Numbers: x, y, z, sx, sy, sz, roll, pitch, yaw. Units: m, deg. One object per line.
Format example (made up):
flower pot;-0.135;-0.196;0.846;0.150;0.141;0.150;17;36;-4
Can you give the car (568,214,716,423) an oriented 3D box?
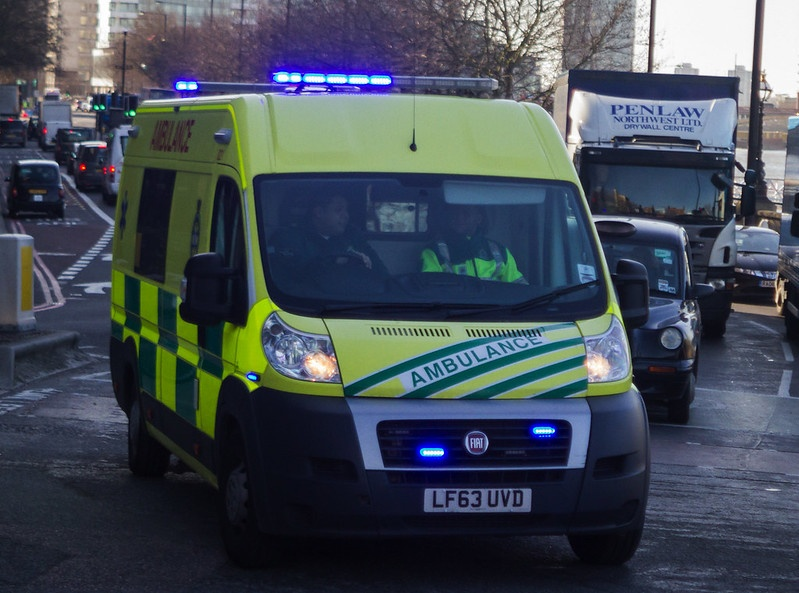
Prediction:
car;3.259;-0.016;12.492;1.925;2.092;3.991;7;14;24

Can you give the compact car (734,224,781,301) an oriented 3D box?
compact car;9.928;-0.980;25.922;1.104;1.817;2.080;3;0;19

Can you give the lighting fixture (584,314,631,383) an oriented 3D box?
lighting fixture;1.121;0.292;5.016;0.222;0.324;0.079;-2;-12;-11

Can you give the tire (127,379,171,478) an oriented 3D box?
tire;-2.104;1.071;7.604;0.190;0.624;0.589;10;-12;-21

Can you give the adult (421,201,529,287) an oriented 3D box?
adult;0.410;-0.236;5.430;0.611;0.540;0.323;0;-8;-6

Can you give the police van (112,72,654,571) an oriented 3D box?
police van;-0.428;-0.020;5.798;3.642;2.813;2.044;4;0;45

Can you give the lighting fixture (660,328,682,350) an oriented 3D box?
lighting fixture;3.101;0.482;10.634;0.258;0.224;0.065;4;-1;-15

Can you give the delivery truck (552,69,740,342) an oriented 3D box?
delivery truck;5.336;-2.807;20.892;2.840;3.812;5.706;1;2;1

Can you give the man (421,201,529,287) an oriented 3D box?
man;0.411;-0.232;5.429;0.620;0.556;0.326;-2;-6;-8

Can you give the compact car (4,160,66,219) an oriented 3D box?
compact car;-14.110;-4.321;36.341;1.482;1.351;2.585;-1;11;-15

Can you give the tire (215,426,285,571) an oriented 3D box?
tire;-0.811;1.148;5.188;0.355;0.821;0.522;4;0;-20

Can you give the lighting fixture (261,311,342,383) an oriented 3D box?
lighting fixture;-0.526;0.296;4.812;0.366;0.280;0.103;25;-1;24

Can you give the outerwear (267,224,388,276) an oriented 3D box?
outerwear;-0.410;-0.266;5.226;0.445;0.186;0.349;19;1;33
